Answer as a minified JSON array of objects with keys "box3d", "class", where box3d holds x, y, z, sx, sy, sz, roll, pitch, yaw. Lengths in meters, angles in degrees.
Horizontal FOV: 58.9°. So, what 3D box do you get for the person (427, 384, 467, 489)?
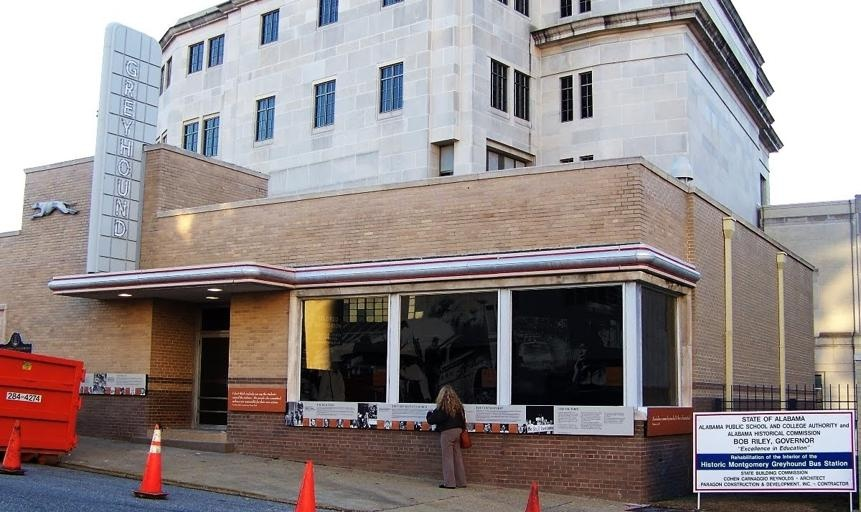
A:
[{"box3d":[0.490,4.642,19.738,0.818,2.565,0.905,-7,-17,28],"class":"person"}]
